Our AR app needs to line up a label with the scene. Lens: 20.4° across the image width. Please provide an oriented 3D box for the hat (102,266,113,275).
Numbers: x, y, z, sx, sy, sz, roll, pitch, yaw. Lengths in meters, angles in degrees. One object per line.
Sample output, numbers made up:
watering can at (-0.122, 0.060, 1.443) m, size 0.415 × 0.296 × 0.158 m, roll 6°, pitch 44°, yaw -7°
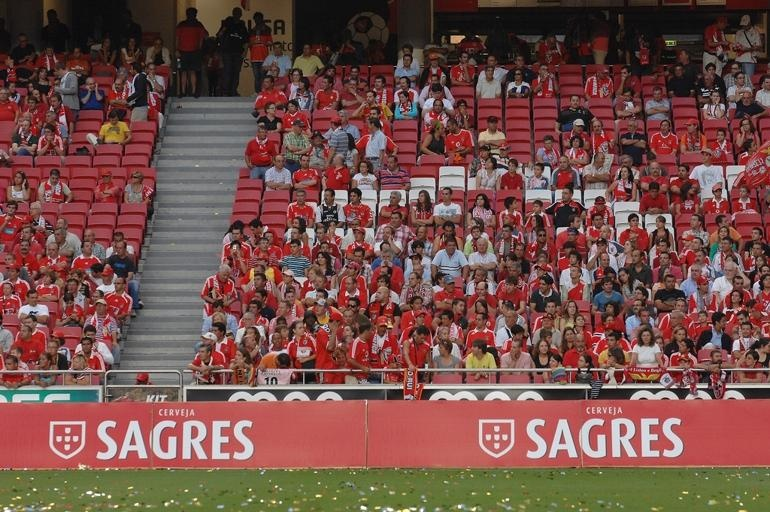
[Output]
hat at (-6.043, 0.294, 46.450) m, size 0.197 × 0.184 × 0.235 m, roll 0°, pitch 8°, yaw -2°

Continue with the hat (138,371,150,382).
hat at (-4.985, 2.475, 43.848) m, size 0.267 × 0.264 × 0.456 m, roll -1°, pitch 8°, yaw -7°
